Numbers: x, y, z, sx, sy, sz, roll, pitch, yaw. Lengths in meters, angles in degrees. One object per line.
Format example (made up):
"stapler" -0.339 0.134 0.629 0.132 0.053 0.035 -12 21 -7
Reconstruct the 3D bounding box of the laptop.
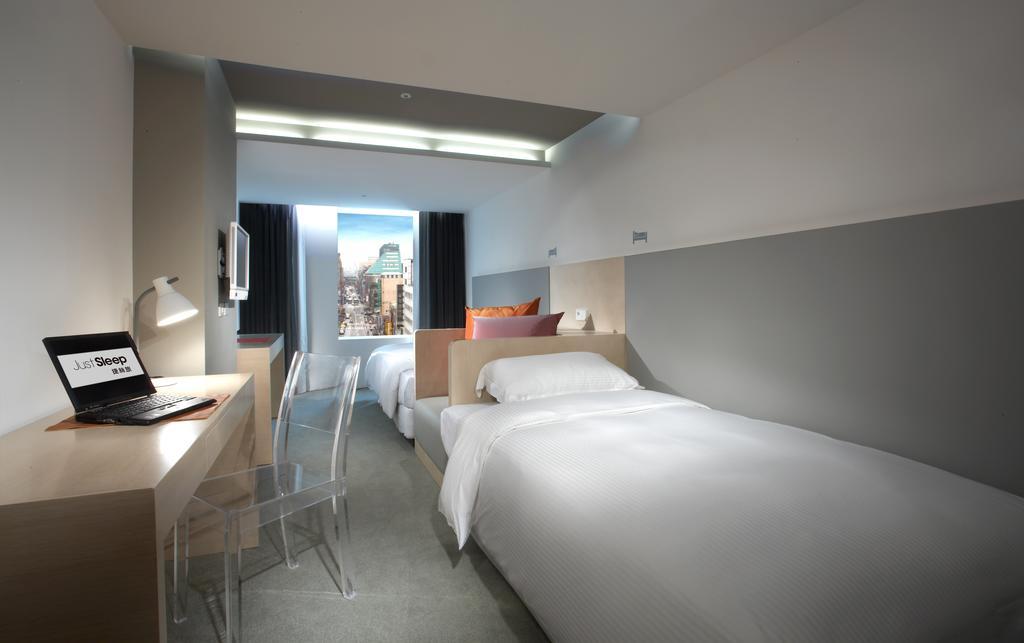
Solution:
"laptop" -1.777 0.256 2.846 0.501 0.362 0.444 0 3 6
